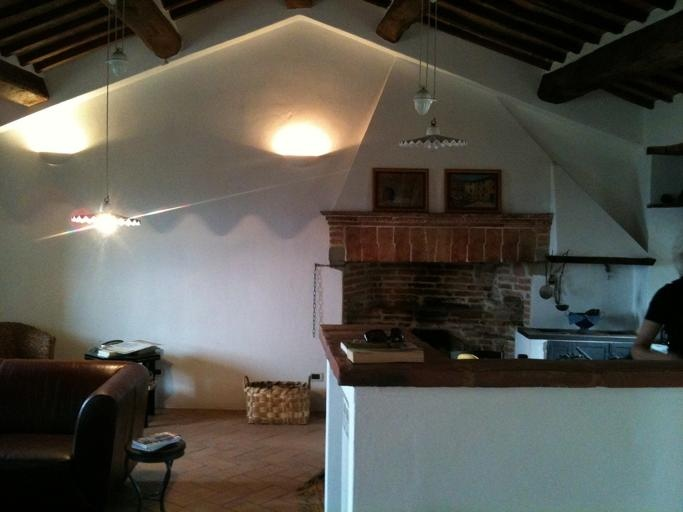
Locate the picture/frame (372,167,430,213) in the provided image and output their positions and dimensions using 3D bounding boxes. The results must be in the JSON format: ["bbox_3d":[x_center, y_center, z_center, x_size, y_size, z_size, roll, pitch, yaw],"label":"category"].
[{"bbox_3d":[0.653,-0.725,6.554,0.632,0.468,0.035,-1,5,-14],"label":"picture/frame"}]

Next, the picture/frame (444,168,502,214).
[{"bbox_3d":[1.458,-0.718,6.563,0.503,0.412,0.038,0,3,1],"label":"picture/frame"}]

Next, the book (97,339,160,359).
[{"bbox_3d":[-2.308,1.003,6.383,0.599,0.100,0.325,0,8,-11],"label":"book"}]

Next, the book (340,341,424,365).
[{"bbox_3d":[0.244,0.579,3.619,0.503,0.087,0.282,2,8,0],"label":"book"}]

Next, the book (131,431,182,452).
[{"bbox_3d":[-1.463,1.460,4.688,0.355,0.061,0.274,-4,10,-34],"label":"book"}]

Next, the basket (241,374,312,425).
[{"bbox_3d":[-0.699,1.579,6.505,0.606,0.387,0.458,1,-4,1],"label":"basket"}]

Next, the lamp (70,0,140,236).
[{"bbox_3d":[-2.339,-1.272,6.045,0.704,2.278,1.701,-3,9,-28],"label":"lamp"}]
